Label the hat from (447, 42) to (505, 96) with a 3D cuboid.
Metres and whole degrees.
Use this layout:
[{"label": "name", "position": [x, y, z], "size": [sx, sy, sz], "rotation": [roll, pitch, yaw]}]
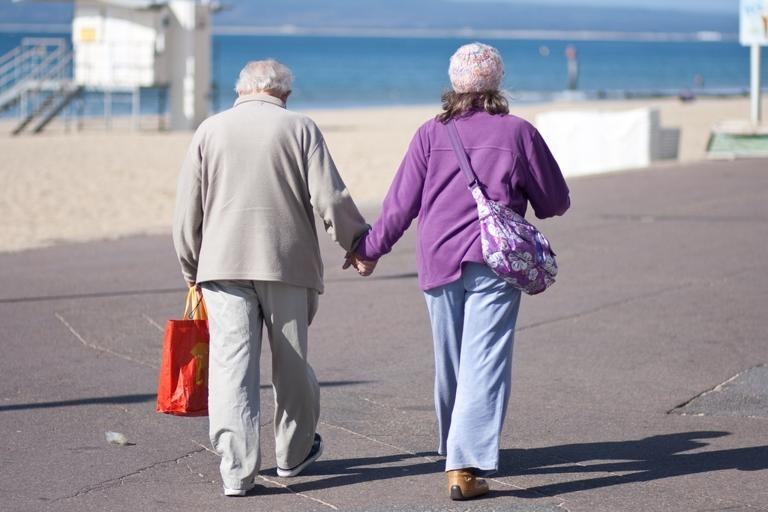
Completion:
[{"label": "hat", "position": [0.789, -1.660, 13.358], "size": [0.442, 0.361, 0.451], "rotation": [-2, 8, -5]}]
